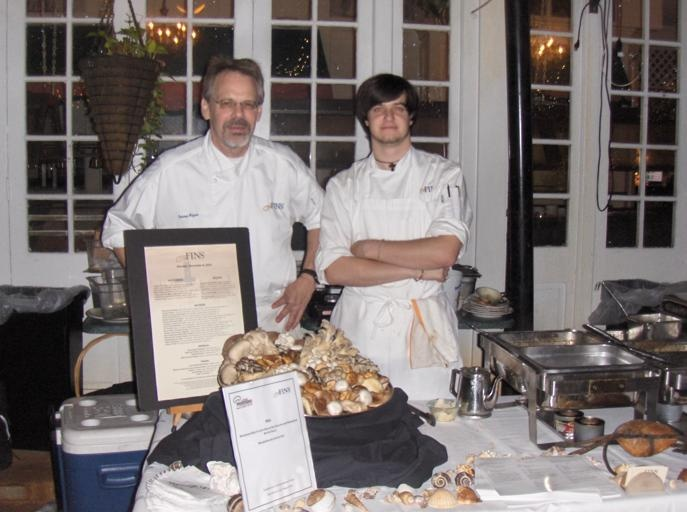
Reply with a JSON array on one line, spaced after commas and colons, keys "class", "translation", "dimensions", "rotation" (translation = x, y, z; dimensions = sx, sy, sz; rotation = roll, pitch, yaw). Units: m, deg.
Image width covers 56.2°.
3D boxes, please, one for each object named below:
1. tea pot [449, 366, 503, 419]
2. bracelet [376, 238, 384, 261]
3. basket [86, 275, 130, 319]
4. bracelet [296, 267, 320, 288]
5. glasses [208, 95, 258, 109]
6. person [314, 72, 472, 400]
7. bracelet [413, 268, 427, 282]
[{"class": "tea pot", "translation": [0.496, 0.512, 2.435], "dimensions": [0.153, 0.174, 0.212], "rotation": [1, 0, -44]}, {"class": "bracelet", "translation": [0.154, -0.026, 2.763], "dimensions": [0.018, 0.073, 0.054], "rotation": [5, -13, -20]}, {"class": "basket", "translation": [-1.254, 0.233, 3.624], "dimensions": [0.216, 0.226, 0.259], "rotation": [3, -7, -27]}, {"class": "bracelet", "translation": [-0.166, 0.091, 3.006], "dimensions": [0.079, 0.049, 0.104], "rotation": [11, 42, -17]}, {"class": "glasses", "translation": [-0.449, -0.644, 2.732], "dimensions": [0.199, 0.053, 0.079], "rotation": [-4, 3, -10]}, {"class": "person", "translation": [0.213, -0.077, 2.846], "dimensions": [0.666, 1.417, 0.390], "rotation": [-2, 4, 18]}, {"class": "bracelet", "translation": [0.337, 0.084, 2.785], "dimensions": [0.055, 0.053, 0.044], "rotation": [-3, 3, 3]}]
